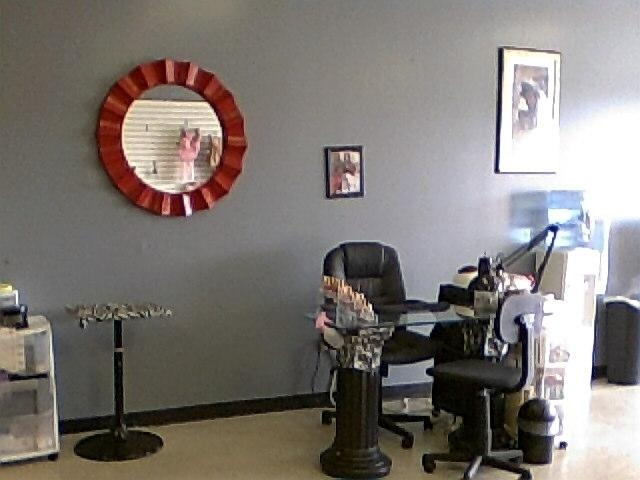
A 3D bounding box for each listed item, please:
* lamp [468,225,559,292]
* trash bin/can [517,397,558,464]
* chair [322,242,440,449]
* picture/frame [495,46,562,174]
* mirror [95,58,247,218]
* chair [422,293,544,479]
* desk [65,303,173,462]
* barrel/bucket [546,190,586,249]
[{"bbox_3d":[1.421,0.148,4.943,0.681,0.522,0.200,-9,15,-16],"label":"lamp"},{"bbox_3d":[1.517,1.285,4.807,0.256,0.516,0.278,-4,12,-9],"label":"trash bin/can"},{"bbox_3d":[0.416,0.756,5.162,0.797,1.402,0.861,-2,4,27],"label":"chair"},{"bbox_3d":[1.851,-1.138,6.095,0.644,1.069,0.169,-1,-2,-20],"label":"picture/frame"},{"bbox_3d":[-1.168,-0.783,5.164,0.935,1.032,0.075,15,-1,-22],"label":"mirror"},{"bbox_3d":[1.261,0.974,5.121,1.023,1.758,0.995,-1,-3,13],"label":"chair"},{"bbox_3d":[-1.461,0.976,4.962,0.767,1.028,0.792,-3,-2,22],"label":"desk"},{"bbox_3d":[2.232,-0.197,6.132,0.356,0.518,0.276,-2,-3,0],"label":"barrel/bucket"}]
